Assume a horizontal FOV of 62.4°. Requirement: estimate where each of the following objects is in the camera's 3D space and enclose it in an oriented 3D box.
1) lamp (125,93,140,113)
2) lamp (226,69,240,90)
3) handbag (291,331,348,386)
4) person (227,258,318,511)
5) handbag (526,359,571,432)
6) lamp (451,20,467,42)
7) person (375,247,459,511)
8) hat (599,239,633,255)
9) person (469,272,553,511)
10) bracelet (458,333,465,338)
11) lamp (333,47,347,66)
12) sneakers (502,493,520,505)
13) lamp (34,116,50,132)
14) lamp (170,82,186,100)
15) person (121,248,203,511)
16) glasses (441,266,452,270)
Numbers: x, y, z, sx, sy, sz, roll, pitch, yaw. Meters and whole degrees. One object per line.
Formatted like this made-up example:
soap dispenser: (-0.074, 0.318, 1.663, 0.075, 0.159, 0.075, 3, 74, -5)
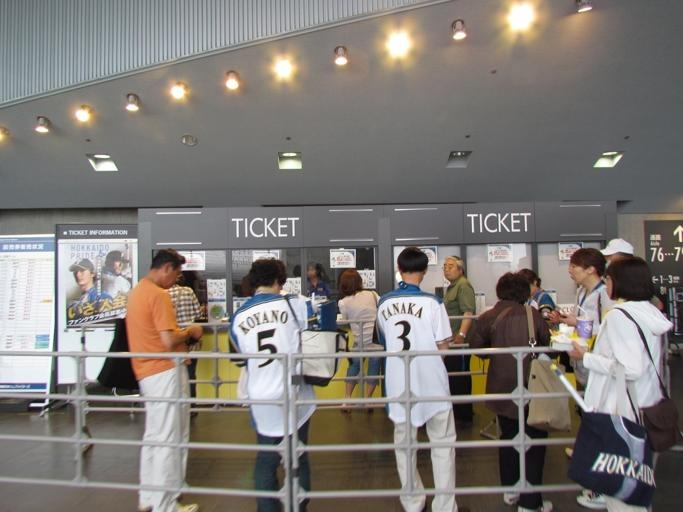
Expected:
lamp: (-3.413, -2.527, 9.241, 0.230, 0.276, 0.245, 17, 32, -1)
lamp: (-1.750, -2.774, 9.007, 0.228, 0.230, 0.229, -33, -12, -20)
handbag: (-0.217, 0.946, 5.360, 0.458, 0.598, 0.452, 0, -5, 1)
person: (-0.659, 1.254, 5.355, 0.804, 2.461, 0.448, -1, -1, -4)
handbag: (1.954, 1.322, 5.363, 0.557, 0.790, 0.293, 10, -14, -30)
lamp: (1.775, -3.394, 8.500, 0.221, 0.241, 0.284, -1, 0, 14)
person: (0.716, 1.222, 5.485, 0.744, 1.974, 0.618, -1, 0, 10)
hat: (3.283, -0.102, 6.713, 0.328, 0.195, 0.246, 3, -1, 31)
person: (1.750, 1.356, 5.700, 0.705, 2.059, 0.564, -1, -1, -23)
bracelet: (1.569, 1.031, 7.389, 0.069, 0.038, 0.093, 1, -17, 9)
lamp: (-0.030, -3.070, 8.690, 0.214, 0.221, 0.215, -1, 0, -4)
sneakers: (1.733, 2.477, 5.769, 0.146, 0.154, 0.093, 2, -6, 13)
lamp: (-5.058, -2.210, 9.538, 0.213, 0.228, 0.238, 0, -7, -9)
lamp: (-2.626, -2.637, 9.070, 0.216, 0.162, 0.212, 3, -21, -21)
person: (-1.805, 1.274, 5.660, 0.670, 2.673, 0.741, -1, -1, -22)
glasses: (1.485, 0.160, 7.958, 0.115, 0.037, 0.112, 9, -5, -25)
